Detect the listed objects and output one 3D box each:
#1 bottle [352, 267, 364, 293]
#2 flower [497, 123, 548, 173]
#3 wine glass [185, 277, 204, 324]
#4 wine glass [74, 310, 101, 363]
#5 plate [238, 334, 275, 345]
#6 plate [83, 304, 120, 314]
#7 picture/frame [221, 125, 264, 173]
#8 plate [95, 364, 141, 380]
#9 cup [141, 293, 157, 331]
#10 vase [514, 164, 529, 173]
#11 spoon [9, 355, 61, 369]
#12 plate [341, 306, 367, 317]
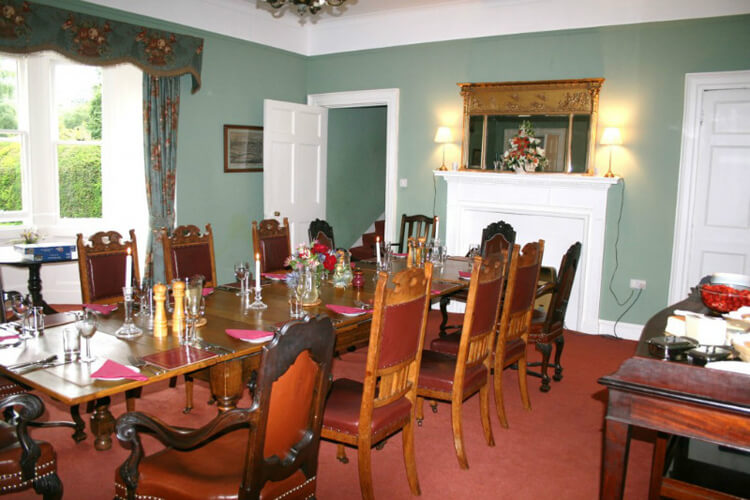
[{"bbox_3d":[-0.108,0.238,4.204,0.136,0.173,0.136,1,-4,0],"label":"bottle"},{"bbox_3d":[1.815,-1.194,6.490,0.557,0.703,0.563,3,3,-17],"label":"flower"},{"bbox_3d":[-1.087,0.291,3.171,0.093,0.276,0.157,-3,9,-20],"label":"wine glass"},{"bbox_3d":[-1.587,0.464,2.921,0.094,0.245,0.290,-5,9,-29],"label":"wine glass"},{"bbox_3d":[-0.691,0.518,3.078,0.184,0.033,0.105,-2,7,-16],"label":"plate"},{"bbox_3d":[-1.794,0.382,3.469,0.153,0.036,0.159,4,-2,19],"label":"plate"},{"bbox_3d":[-1.742,-1.334,6.873,0.044,0.561,0.664,6,10,34],"label":"picture/frame"},{"bbox_3d":[-1.313,0.623,2.697,0.120,0.029,0.118,1,7,-21],"label":"plate"},{"bbox_3d":[-1.419,0.373,3.303,0.087,0.202,0.295,-4,8,-24],"label":"cup"},{"bbox_3d":[1.743,-0.969,6.222,0.119,0.085,0.121,13,16,40],"label":"vase"},{"bbox_3d":[-1.775,0.591,2.796,0.259,0.046,0.059,-7,19,-30],"label":"spoon"},{"bbox_3d":[-0.137,0.406,3.500,0.170,0.032,0.136,-2,7,-16],"label":"plate"}]
